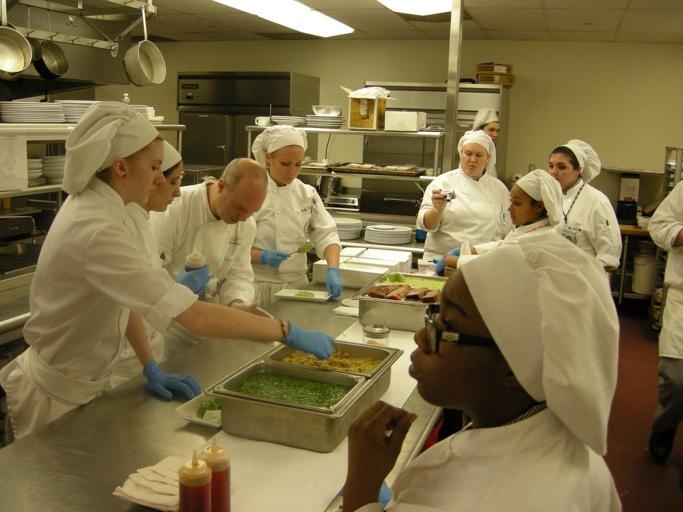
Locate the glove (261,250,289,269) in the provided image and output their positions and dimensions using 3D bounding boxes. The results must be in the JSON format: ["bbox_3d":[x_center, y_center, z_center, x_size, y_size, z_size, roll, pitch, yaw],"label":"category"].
[{"bbox_3d":[-0.421,0.010,3.319,0.156,0.096,0.159,18,-23,16],"label":"glove"}]

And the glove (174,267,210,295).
[{"bbox_3d":[-0.659,0.109,2.285,0.109,0.126,0.078,14,7,-8],"label":"glove"}]

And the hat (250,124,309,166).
[{"bbox_3d":[-0.441,-0.757,3.465,0.326,0.179,0.357,-3,6,-21],"label":"hat"}]

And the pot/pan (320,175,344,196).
[{"bbox_3d":[-0.106,-0.756,5.503,0.230,0.219,0.227,6,15,-3],"label":"pot/pan"}]

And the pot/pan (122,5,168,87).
[{"bbox_3d":[-1.470,-1.457,3.761,0.195,0.610,0.324,0,8,22],"label":"pot/pan"}]

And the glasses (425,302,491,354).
[{"bbox_3d":[0.233,0.142,1.040,0.100,0.030,0.097,5,7,2],"label":"glasses"}]

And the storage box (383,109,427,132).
[{"bbox_3d":[0.561,-1.187,4.535,0.379,0.176,0.261,0,13,-2],"label":"storage box"}]

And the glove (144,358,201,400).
[{"bbox_3d":[-0.647,0.464,1.961,0.182,0.055,0.119,32,-40,-7],"label":"glove"}]

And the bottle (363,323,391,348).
[{"bbox_3d":[0.153,0.355,2.304,0.086,0.084,0.086,1,4,2],"label":"bottle"}]

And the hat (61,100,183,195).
[{"bbox_3d":[-0.813,-0.379,1.826,0.330,0.323,0.137,-6,15,-27],"label":"hat"}]

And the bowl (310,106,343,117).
[{"bbox_3d":[-0.104,-1.361,4.809,0.241,0.087,0.246,2,5,0],"label":"bowl"}]

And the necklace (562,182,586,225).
[{"bbox_3d":[1.785,-0.427,4.092,0.165,0.317,0.200,10,-4,9],"label":"necklace"}]

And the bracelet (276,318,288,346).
[{"bbox_3d":[-0.223,0.283,1.923,0.029,0.073,0.055,3,-1,-28],"label":"bracelet"}]

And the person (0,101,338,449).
[{"bbox_3d":[-0.794,0.098,1.907,1.171,1.301,0.356,5,14,19],"label":"person"}]

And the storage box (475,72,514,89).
[{"bbox_3d":[1.986,-2.261,6.619,0.294,0.134,0.373,7,13,27],"label":"storage box"}]

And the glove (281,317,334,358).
[{"bbox_3d":[-0.116,0.311,1.932,0.187,0.108,0.064,21,-39,-26],"label":"glove"}]
